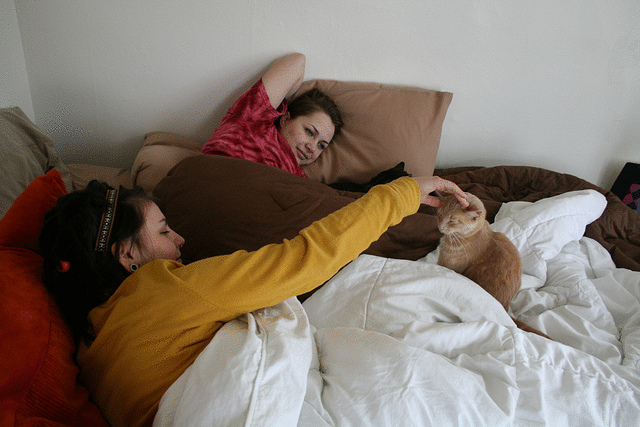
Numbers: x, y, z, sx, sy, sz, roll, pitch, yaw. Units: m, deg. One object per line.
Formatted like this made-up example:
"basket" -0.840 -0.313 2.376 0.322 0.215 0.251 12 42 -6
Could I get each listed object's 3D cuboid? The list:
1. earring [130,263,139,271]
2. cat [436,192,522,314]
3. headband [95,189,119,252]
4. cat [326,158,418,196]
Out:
"earring" -0.618 0.179 1.575 0.025 0.023 0.026 -9 35 -24
"cat" 0.668 0.166 1.964 0.413 0.488 0.259 5 24 -4
"headband" -0.683 0.020 1.527 0.042 0.158 0.113 11 -7 -39
"cat" 0.279 -0.157 2.177 0.243 0.115 0.312 -12 22 -22
